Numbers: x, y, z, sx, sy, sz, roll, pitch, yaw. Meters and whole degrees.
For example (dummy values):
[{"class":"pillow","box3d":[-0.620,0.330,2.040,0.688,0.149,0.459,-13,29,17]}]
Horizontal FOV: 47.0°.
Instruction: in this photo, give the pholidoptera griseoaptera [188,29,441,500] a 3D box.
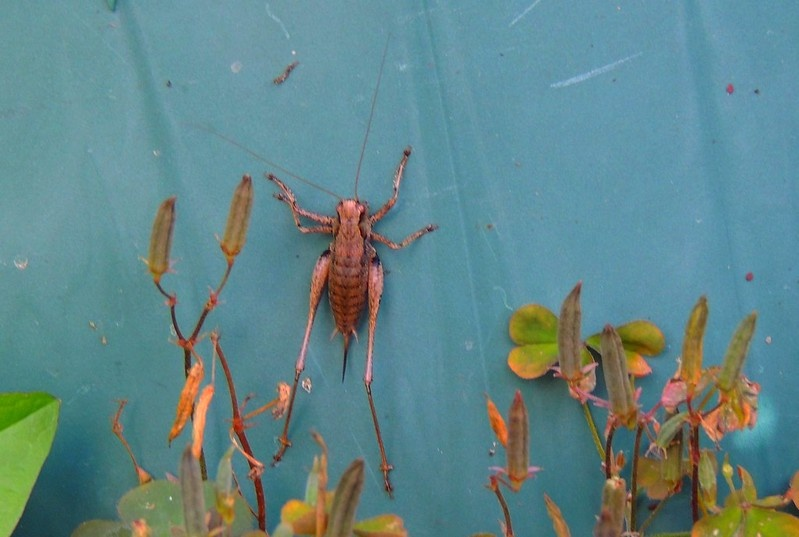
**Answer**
[{"class":"pholidoptera griseoaptera","box3d":[-0.300,0.024,2.960,0.547,1.481,0.194,4,3,-5]}]
